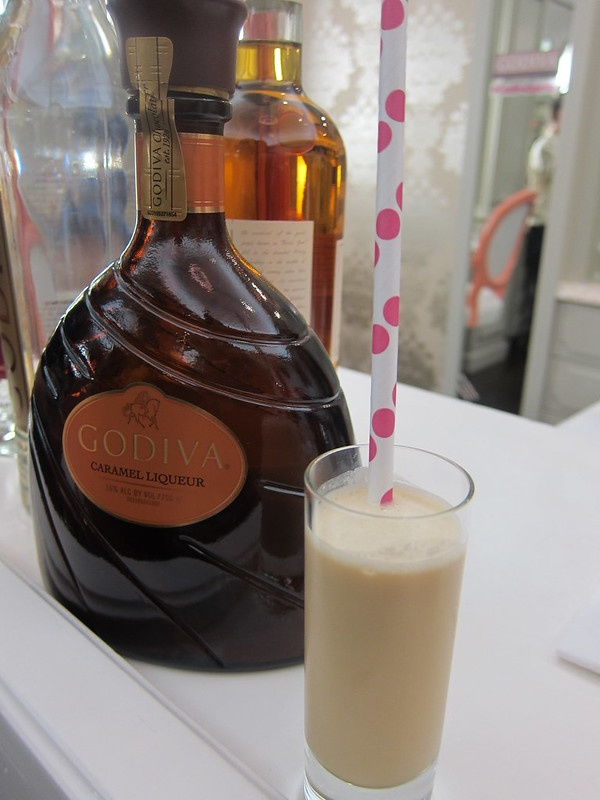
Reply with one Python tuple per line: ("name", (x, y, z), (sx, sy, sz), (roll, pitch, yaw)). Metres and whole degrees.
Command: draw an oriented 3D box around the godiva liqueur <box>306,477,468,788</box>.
("godiva liqueur", (0.034, 0.102, 0.289), (0.060, 0.129, 0.038), (3, 24, 7))
